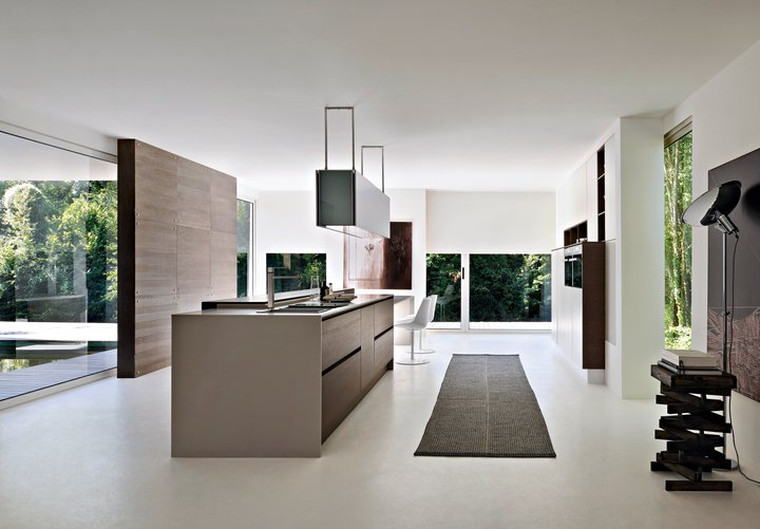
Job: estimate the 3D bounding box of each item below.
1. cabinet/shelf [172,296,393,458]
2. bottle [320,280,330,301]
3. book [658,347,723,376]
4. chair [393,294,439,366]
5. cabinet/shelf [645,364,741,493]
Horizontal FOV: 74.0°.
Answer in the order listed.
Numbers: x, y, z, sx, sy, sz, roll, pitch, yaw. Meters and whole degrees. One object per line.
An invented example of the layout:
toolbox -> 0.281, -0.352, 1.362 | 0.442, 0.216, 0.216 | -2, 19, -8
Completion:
cabinet/shelf -> -0.897, 1.036, 4.804 | 2.051, 1.257, 1.203 | -2, 5, -25
bottle -> -0.724, 0.350, 6.590 | 0.085, 0.275, 0.200 | 0, -2, 11
book -> 2.416, 0.776, 3.939 | 0.412, 0.151, 0.190 | 2, 5, 32
chair -> 0.533, 1.046, 8.071 | 0.553, 1.041, 0.743 | 1, 4, 13
cabinet/shelf -> 2.471, 1.265, 3.966 | 0.582, 0.934, 0.503 | 1, 5, 20
